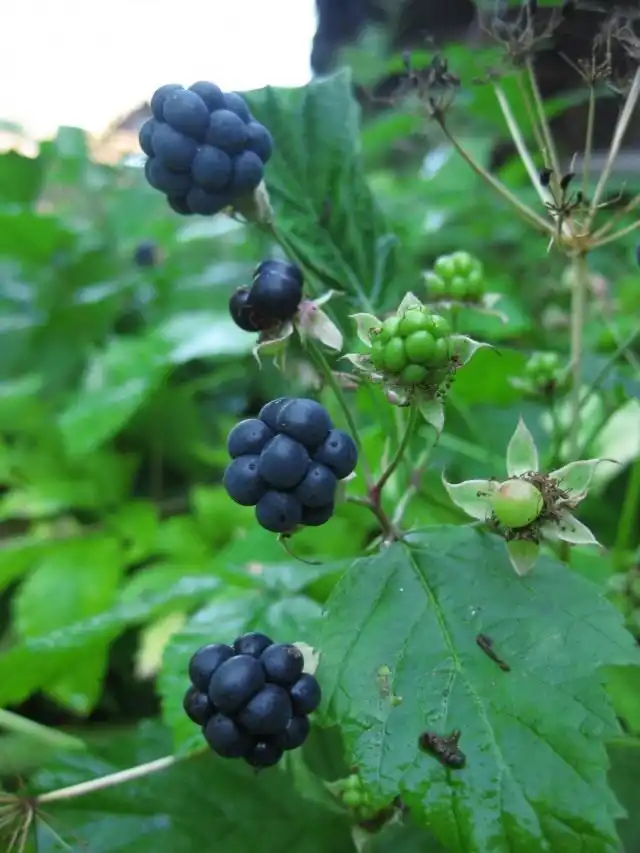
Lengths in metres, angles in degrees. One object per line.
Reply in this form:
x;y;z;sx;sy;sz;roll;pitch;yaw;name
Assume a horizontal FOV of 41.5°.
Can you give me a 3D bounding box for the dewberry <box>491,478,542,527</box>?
0.250;0.103;1.080;0.064;0.065;0.052;-3;18;23;dewberry
